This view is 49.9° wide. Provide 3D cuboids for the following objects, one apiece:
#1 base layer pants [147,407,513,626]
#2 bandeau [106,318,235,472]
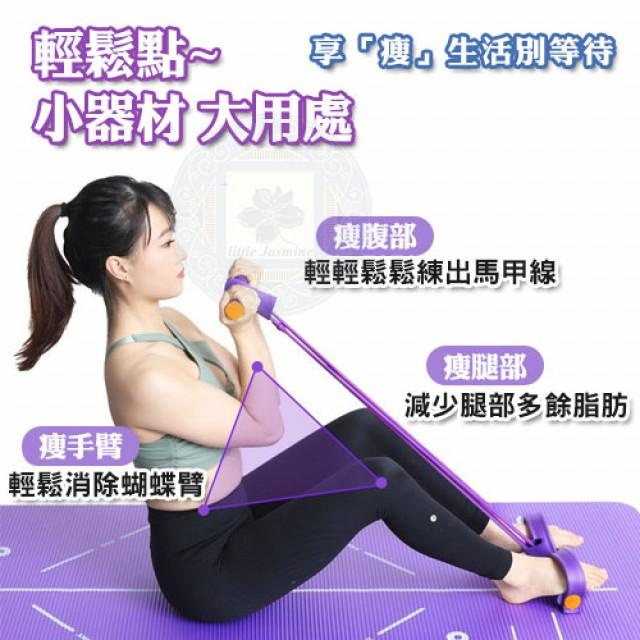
[{"bbox_3d":[0.085,0.586,2.189,1.184,0.481,0.515,-3,2,-6],"label":"base layer pants"},{"bbox_3d":[-0.390,0.223,2.007,0.297,0.399,0.339,7,13,29],"label":"bandeau"}]
